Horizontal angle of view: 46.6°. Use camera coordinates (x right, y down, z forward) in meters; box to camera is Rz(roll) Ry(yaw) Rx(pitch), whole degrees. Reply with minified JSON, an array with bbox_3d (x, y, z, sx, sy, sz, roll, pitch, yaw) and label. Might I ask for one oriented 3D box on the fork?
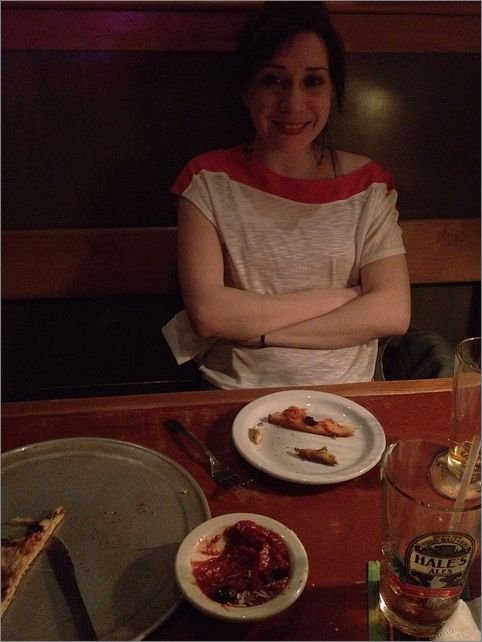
[{"bbox_3d":[-0.079,0.203,1.009,0.049,0.035,0.330,-15,21,-25],"label":"fork"}]
